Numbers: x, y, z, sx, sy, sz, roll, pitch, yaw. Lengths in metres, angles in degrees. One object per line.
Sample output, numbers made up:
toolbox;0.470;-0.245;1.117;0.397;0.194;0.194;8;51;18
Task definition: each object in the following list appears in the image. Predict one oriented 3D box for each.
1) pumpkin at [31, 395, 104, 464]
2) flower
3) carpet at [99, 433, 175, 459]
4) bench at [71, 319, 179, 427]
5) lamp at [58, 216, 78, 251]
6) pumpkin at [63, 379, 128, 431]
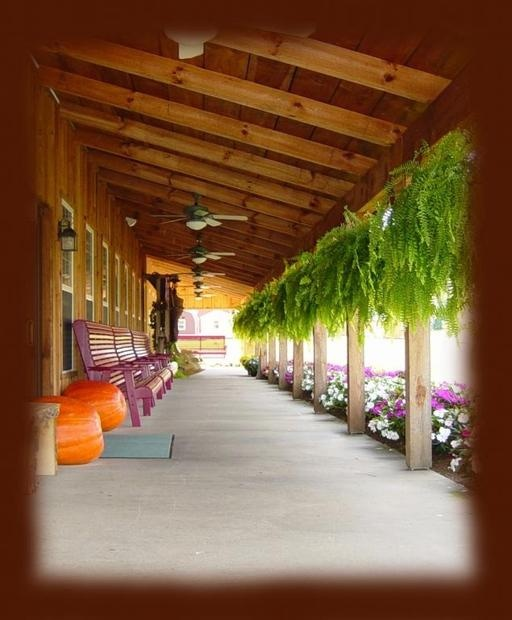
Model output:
pumpkin;-0.992;0.635;3.176;0.383;0.361;0.387;2;2;-9
flower;0.935;0.701;3.892;0.318;0.270;1.893;1;-5;-14
carpet;-0.743;0.866;3.649;0.443;0.020;0.951;2;-3;-12
bench;-1.325;0.584;5.522;0.946;0.932;1.400;2;0;-2
lamp;-1.652;-0.667;4.995;0.155;0.283;0.279;2;-3;-19
pumpkin;-1.171;0.666;4.283;0.452;0.380;0.463;2;1;-6
